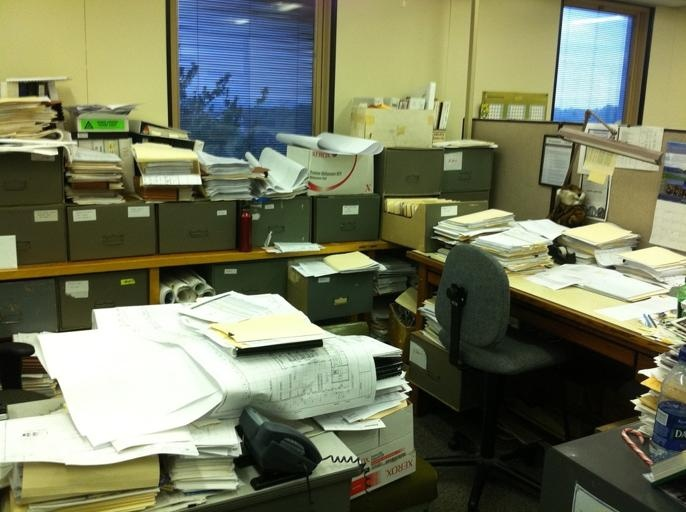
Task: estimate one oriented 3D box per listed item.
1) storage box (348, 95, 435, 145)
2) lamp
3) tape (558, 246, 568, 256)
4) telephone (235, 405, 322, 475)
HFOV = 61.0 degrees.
[{"bbox_3d":[0.316,-0.815,3.649,0.426,0.215,0.380,3,7,0],"label":"storage box"},{"bbox_3d":[1.325,-0.442,3.008,0.457,0.600,0.859,-4,17,-6],"label":"lamp"},{"bbox_3d":[1.144,-0.024,3.021,0.042,0.045,0.052,1,16,-10],"label":"tape"},{"bbox_3d":[-0.158,0.473,1.473,0.168,0.116,0.220,-2,20,-31],"label":"telephone"}]
